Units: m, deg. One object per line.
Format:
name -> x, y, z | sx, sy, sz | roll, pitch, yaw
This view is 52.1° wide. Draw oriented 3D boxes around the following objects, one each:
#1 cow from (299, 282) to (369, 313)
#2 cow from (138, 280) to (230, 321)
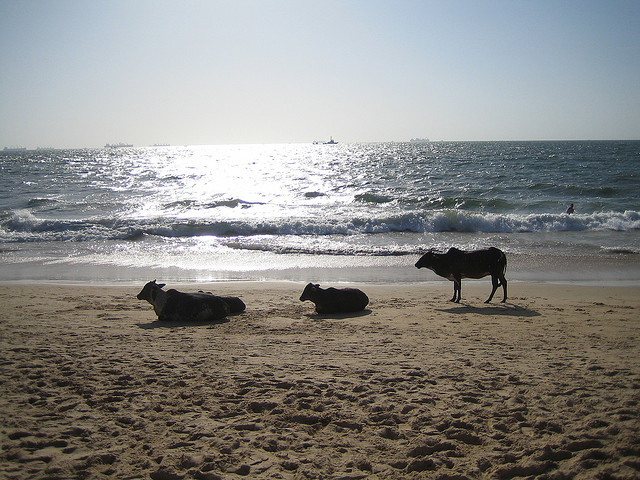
cow -> 0.290, 1.199, 13.506 | 1.515, 0.531, 0.518 | 2, -6, -17
cow -> -2.526, 1.194, 12.444 | 2.002, 0.671, 0.634 | 4, 0, 0
